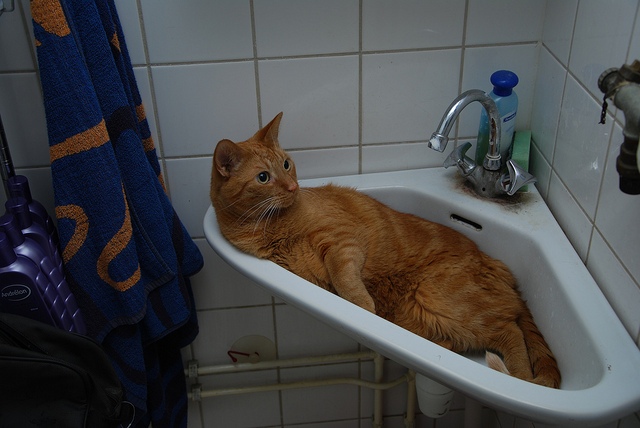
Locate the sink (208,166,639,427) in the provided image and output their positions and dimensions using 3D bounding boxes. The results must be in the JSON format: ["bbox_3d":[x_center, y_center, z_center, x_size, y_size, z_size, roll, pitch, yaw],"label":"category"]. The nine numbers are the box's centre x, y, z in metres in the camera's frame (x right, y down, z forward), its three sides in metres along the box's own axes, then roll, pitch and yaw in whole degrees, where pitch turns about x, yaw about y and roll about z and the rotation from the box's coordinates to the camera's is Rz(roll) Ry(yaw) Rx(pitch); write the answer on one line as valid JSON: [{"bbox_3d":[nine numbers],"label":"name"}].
[{"bbox_3d":[0.331,0.150,1.237,0.899,0.241,0.740,24,38,35],"label":"sink"}]

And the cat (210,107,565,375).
[{"bbox_3d":[0.241,0.073,1.323,1.062,0.448,0.396,13,23,9],"label":"cat"}]

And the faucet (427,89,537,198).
[{"bbox_3d":[0.467,-0.198,1.379,0.154,0.210,0.189,-34,41,-17],"label":"faucet"}]
